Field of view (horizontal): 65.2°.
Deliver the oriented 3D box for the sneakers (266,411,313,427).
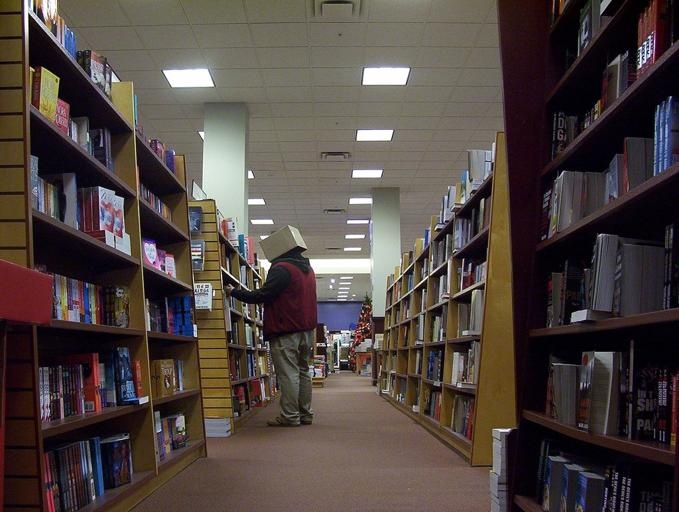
[{"bbox_3d":[-0.527,1.663,5.539,0.484,0.227,0.181,0,-9,5],"label":"sneakers"}]
